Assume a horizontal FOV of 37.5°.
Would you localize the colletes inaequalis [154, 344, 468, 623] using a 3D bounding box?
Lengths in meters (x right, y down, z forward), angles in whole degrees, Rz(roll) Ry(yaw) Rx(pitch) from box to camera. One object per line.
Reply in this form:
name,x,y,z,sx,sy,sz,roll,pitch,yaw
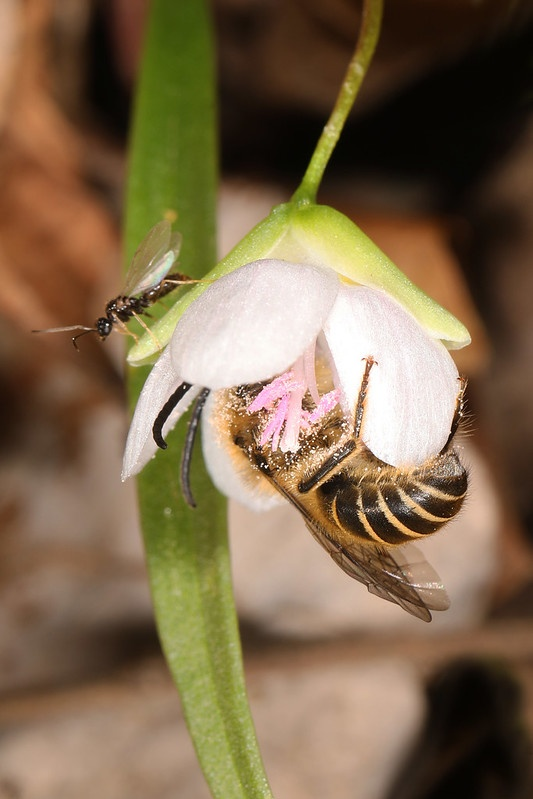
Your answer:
colletes inaequalis,0.015,0.037,0.615,0.223,0.247,0.185,-1,41,-16
